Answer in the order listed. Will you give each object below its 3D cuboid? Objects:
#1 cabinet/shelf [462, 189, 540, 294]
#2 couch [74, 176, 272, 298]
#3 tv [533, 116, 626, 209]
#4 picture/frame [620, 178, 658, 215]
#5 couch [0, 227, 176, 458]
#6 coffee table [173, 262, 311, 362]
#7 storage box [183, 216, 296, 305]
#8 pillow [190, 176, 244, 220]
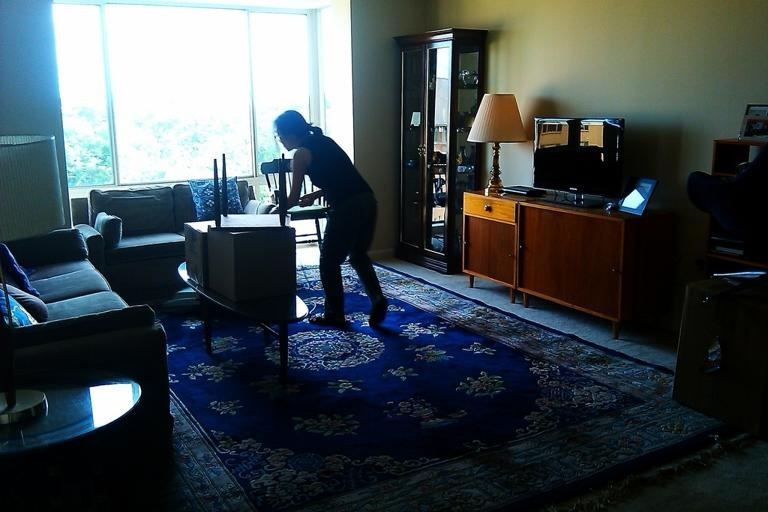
[{"bbox_3d":[1.113,-0.160,5.250,0.513,1.124,0.955,-5,11,-30],"label":"cabinet/shelf"},{"bbox_3d":[-2.315,-0.187,5.879,2.044,1.303,1.079,-7,11,-35],"label":"couch"},{"bbox_3d":[1.698,-0.800,4.813,0.101,0.584,0.884,-9,15,-33],"label":"tv"},{"bbox_3d":[2.031,-0.473,4.486,0.248,0.234,0.240,10,18,-37],"label":"picture/frame"},{"bbox_3d":[-1.739,0.472,3.259,0.595,0.530,1.347,-6,19,-34],"label":"couch"},{"bbox_3d":[-0.845,0.376,3.780,0.550,0.336,1.508,-13,21,-38],"label":"coffee table"},{"bbox_3d":[-1.030,-0.032,4.029,0.597,0.492,1.060,-6,14,-36],"label":"storage box"},{"bbox_3d":[-1.656,-0.556,5.517,0.567,0.480,0.189,-11,-20,-18],"label":"pillow"}]
